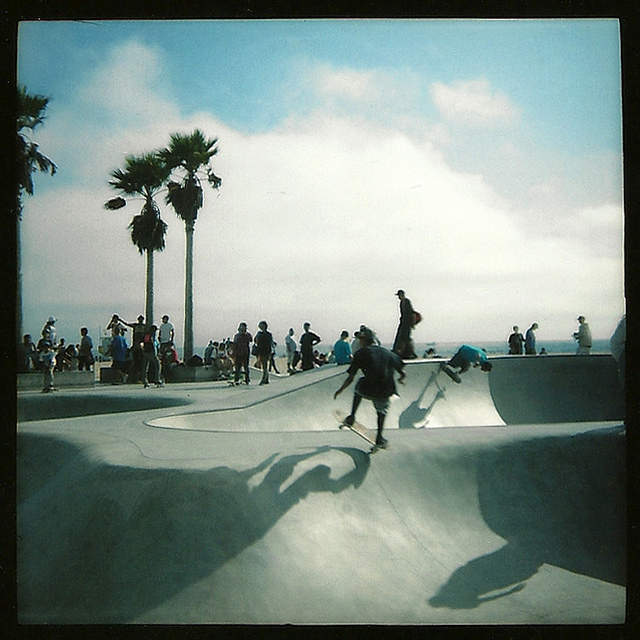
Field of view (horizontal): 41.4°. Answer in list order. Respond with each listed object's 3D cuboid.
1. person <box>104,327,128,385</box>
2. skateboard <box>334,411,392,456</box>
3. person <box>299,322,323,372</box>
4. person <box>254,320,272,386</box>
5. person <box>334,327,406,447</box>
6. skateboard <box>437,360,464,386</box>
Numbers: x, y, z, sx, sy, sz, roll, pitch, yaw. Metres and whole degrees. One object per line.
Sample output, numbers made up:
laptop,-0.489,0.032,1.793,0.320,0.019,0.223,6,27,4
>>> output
person,-3.313,0.587,14.104,0.331,0.983,0.369,8,20,17
skateboard,0.345,1.015,7.393,0.189,0.150,0.773,3,28,-42
person,-0.157,0.456,14.002,0.370,0.989,0.286,-3,33,-3
person,-0.877,0.524,13.090,0.260,1.004,0.230,1,-2,-34
person,0.462,0.593,7.619,0.499,1.190,0.338,5,20,3
skateboard,1.678,0.711,10.886,0.323,0.124,0.245,40,-9,-1
